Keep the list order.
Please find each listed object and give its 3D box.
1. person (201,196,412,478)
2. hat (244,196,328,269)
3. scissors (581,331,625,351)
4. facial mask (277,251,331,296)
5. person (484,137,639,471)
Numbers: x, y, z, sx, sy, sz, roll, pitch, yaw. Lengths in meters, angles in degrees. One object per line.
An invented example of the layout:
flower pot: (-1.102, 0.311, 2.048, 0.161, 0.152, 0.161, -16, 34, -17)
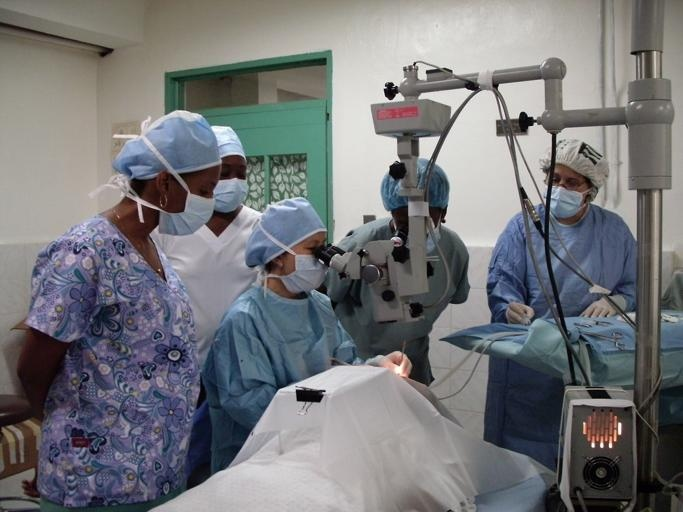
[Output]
person: (-0.212, 0.240, 2.837, 0.799, 1.578, 0.771, -5, 1, 29)
hat: (-0.205, -0.085, 2.390, 0.262, 0.172, 0.199, -36, 3, 17)
scissors: (0.881, 0.283, 2.183, 0.089, 0.008, 0.057, 6, 40, 23)
facial mask: (-0.129, 0.061, 2.300, 0.129, 0.142, 0.089, 1, 5, -3)
person: (0.879, 0.149, 2.728, 0.481, 1.707, 0.481, 2, 6, 19)
